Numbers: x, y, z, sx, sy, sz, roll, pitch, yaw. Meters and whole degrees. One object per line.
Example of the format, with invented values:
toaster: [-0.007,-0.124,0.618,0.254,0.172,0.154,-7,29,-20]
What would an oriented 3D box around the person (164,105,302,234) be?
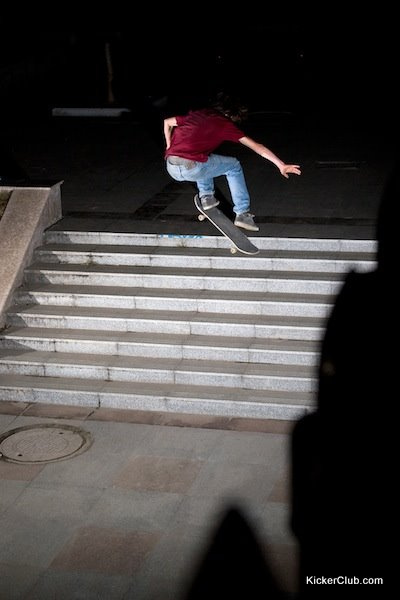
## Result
person: [0.389,-1.766,6.650,1.652,1.884,0.908,13,43,17]

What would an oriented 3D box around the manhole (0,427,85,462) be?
manhole: [-1.534,1.401,5.186,0.807,0.056,0.558,-1,25,0]

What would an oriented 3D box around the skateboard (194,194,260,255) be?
skateboard: [0.341,-0.972,7.046,1.184,0.194,0.291,43,55,4]
